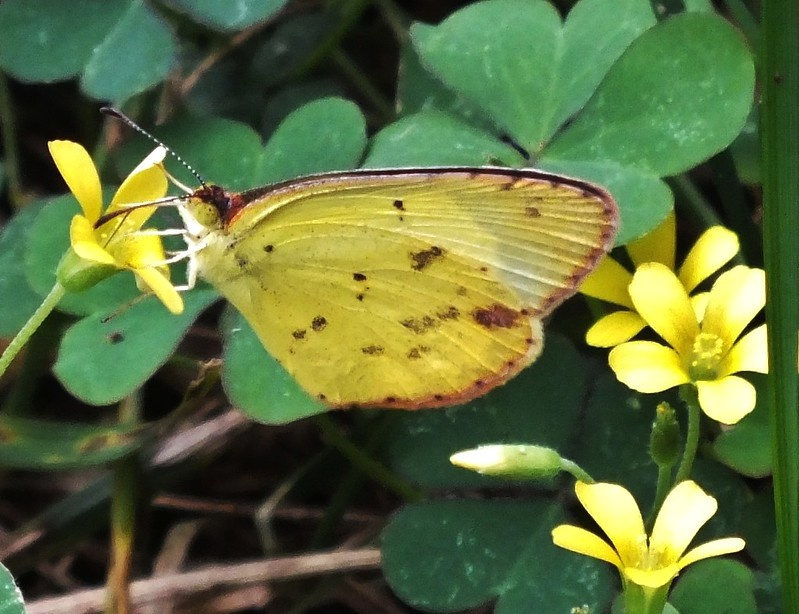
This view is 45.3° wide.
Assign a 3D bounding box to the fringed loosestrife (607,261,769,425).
[{"bbox_3d":[0.461,0.033,1.538,0.237,0.126,0.225,7,81,5],"label":"fringed loosestrife"}]

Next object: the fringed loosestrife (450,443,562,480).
[{"bbox_3d":[0.177,0.243,1.578,0.204,0.066,0.065,2,46,-8],"label":"fringed loosestrife"}]

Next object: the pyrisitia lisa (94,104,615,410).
[{"bbox_3d":[-0.036,-0.026,1.687,0.804,0.295,0.393,0,81,4],"label":"pyrisitia lisa"}]

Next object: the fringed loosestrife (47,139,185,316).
[{"bbox_3d":[-0.478,-0.172,1.687,0.139,0.308,0.286,-37,15,14],"label":"fringed loosestrife"}]
